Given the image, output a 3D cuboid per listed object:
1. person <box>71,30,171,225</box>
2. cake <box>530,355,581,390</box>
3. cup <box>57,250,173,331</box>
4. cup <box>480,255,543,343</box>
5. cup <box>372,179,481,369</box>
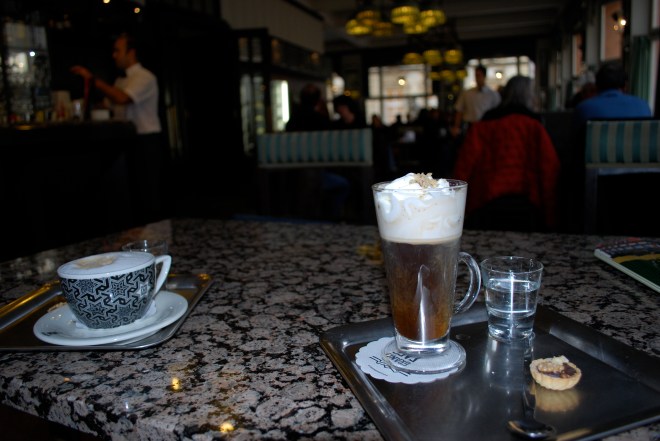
[{"bbox_3d":[-1.242,-0.577,3.147,0.255,1.182,0.476,-2,12,3],"label":"person"},{"bbox_3d":[0.333,0.223,0.739,0.051,0.021,0.050,-8,19,-26],"label":"cake"},{"bbox_3d":[-0.380,0.115,0.927,0.133,0.078,0.159,1,7,13],"label":"cup"},{"bbox_3d":[0.311,0.140,0.943,0.136,0.139,0.132,-2,3,0],"label":"cup"},{"bbox_3d":[0.145,0.086,0.794,0.146,0.273,0.121,-1,12,5],"label":"cup"}]
